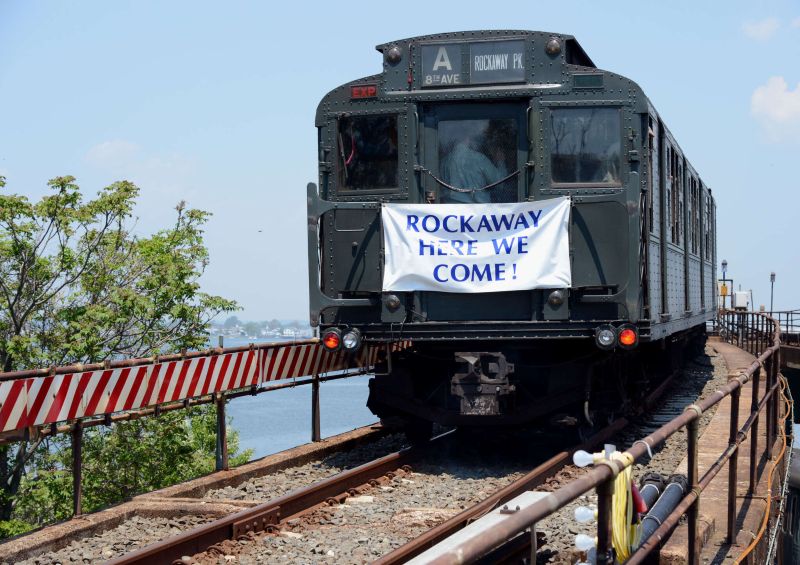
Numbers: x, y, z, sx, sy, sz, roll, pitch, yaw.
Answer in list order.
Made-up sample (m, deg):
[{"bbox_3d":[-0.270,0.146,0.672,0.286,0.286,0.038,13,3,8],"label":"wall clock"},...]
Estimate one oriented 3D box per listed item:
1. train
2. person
[{"bbox_3d":[1.800,-0.496,11.191,6.218,5.855,3.281,-1,-1,-28],"label":"train"},{"bbox_3d":[1.030,-1.619,10.914,1.094,1.328,0.855,2,10,19],"label":"person"}]
